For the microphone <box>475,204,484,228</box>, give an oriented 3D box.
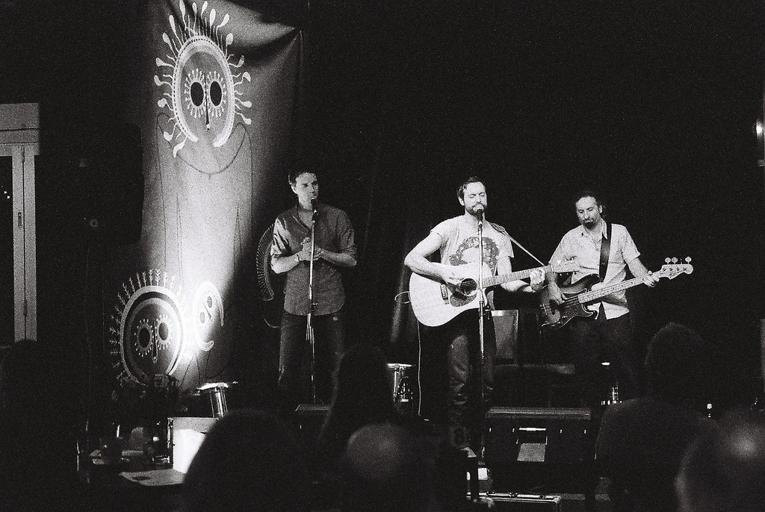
[{"bbox_3d":[0.825,-0.349,6.851,0.039,0.143,0.094,-4,-16,20],"label":"microphone"}]
